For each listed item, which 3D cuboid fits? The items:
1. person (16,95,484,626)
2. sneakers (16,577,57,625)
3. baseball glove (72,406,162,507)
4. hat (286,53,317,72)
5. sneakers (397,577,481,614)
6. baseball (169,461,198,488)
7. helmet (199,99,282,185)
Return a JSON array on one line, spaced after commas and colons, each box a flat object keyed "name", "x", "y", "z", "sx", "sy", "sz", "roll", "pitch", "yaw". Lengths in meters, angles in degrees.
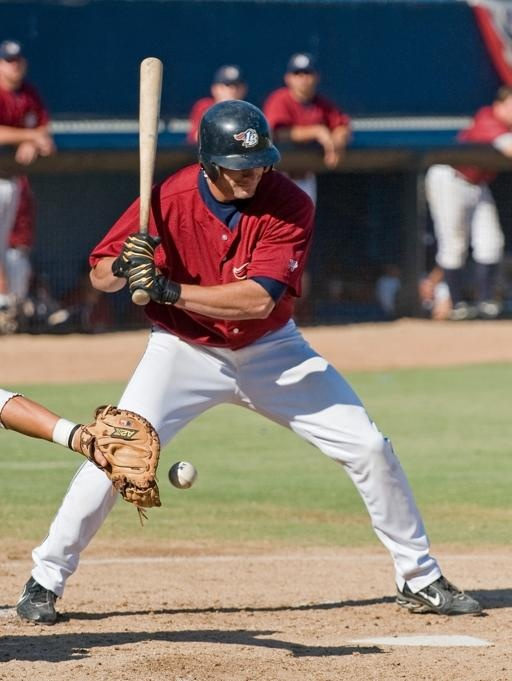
[{"name": "person", "x": -0.084, "y": 0.080, "z": 3.895, "sx": 1.524, "sy": 1.799, "sz": 0.413, "roll": -2, "pitch": 7, "yaw": -12}, {"name": "sneakers", "x": -0.743, "y": 0.881, "z": 3.841, "sx": 0.085, "sy": 0.084, "sz": 0.214, "roll": 11, "pitch": 10, "yaw": -29}, {"name": "baseball glove", "x": -0.379, "y": 0.331, "z": 3.333, "sx": 0.224, "sy": 0.313, "sz": 0.085, "roll": -38, "pitch": 6, "yaw": 8}, {"name": "hat", "x": 0.415, "y": -2.558, "z": 10.549, "sx": 0.227, "sy": 0.210, "sz": 0.455, "roll": 0, "pitch": 5, "yaw": -1}, {"name": "sneakers", "x": 0.656, "y": 0.911, "z": 4.034, "sx": 0.303, "sy": 0.115, "sz": 0.125, "roll": 0, "pitch": 6, "yaw": 19}, {"name": "baseball", "x": -0.254, "y": 0.459, "z": 3.810, "sx": 0.084, "sy": 0.119, "sz": 0.223, "roll": -1, "pitch": 6, "yaw": -5}, {"name": "helmet", "x": -0.066, "y": -0.670, "z": 3.789, "sx": 0.265, "sy": 0.274, "sz": 0.273, "roll": -1, "pitch": 6, "yaw": -7}]
